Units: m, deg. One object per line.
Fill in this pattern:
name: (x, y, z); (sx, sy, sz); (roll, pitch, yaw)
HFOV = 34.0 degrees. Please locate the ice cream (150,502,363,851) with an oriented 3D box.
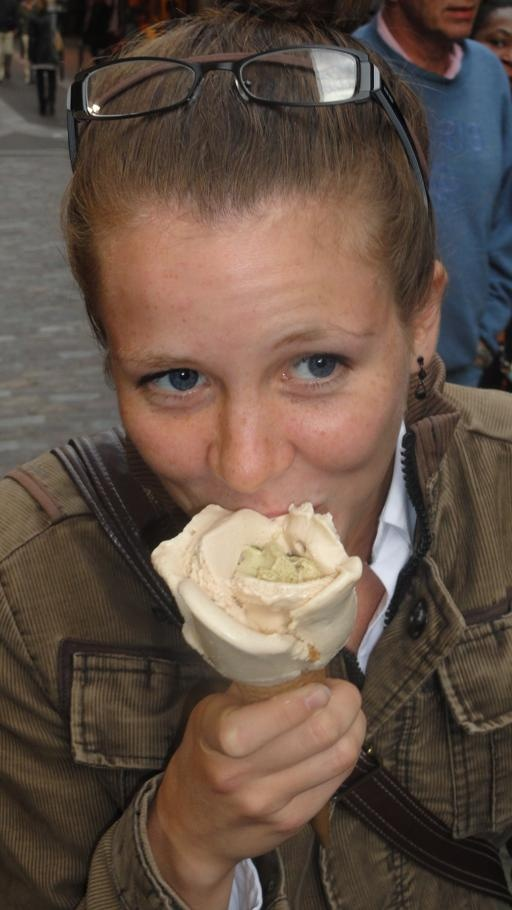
ice cream: (-0.013, 0.226, 1.460); (0.293, 0.291, 0.330); (-16, 46, -22)
